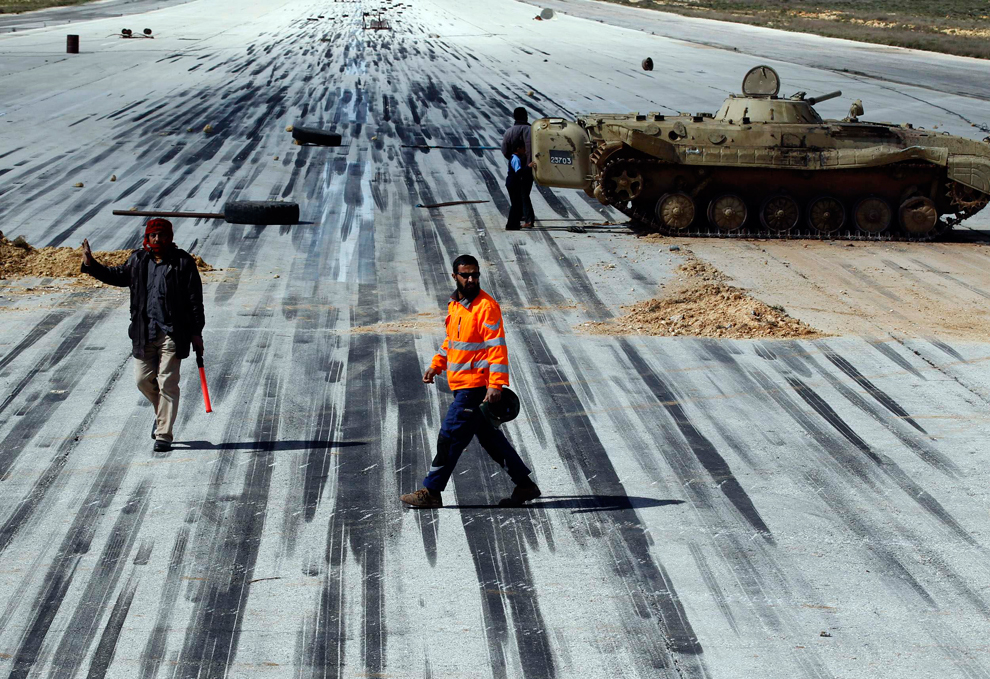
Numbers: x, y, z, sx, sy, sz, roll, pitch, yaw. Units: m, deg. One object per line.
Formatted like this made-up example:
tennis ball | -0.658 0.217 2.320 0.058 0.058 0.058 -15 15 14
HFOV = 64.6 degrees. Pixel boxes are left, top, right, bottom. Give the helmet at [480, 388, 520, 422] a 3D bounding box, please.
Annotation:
helmet | 0.074 0.678 7.998 0.392 0.432 0.254 -11 35 -17

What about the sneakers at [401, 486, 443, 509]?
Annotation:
sneakers | -0.824 1.704 8.415 0.514 0.159 0.186 4 4 0

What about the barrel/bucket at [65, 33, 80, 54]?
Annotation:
barrel/bucket | -22.851 -16.220 42.543 0.691 0.910 0.982 -16 34 -23

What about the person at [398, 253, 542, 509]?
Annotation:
person | -0.233 0.508 8.188 1.347 2.804 1.081 -3 34 -4
